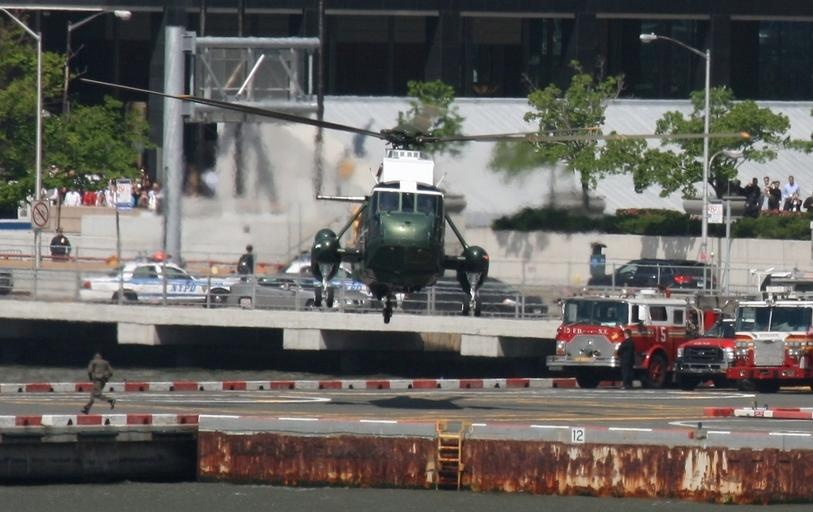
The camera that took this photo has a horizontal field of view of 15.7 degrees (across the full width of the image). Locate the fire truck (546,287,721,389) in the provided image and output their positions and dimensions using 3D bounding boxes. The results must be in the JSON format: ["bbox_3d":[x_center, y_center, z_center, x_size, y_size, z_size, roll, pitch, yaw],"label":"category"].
[{"bbox_3d":[11.256,4.237,147.721,5.373,4.119,10.381,0,0,32],"label":"fire truck"}]

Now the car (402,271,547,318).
[{"bbox_3d":[3.561,1.627,148.472,9.008,2.838,3.768,-2,-2,41],"label":"car"}]

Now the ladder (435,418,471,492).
[{"bbox_3d":[1.920,9.066,132.470,1.431,3.012,0.510,2,3,0],"label":"ladder"}]

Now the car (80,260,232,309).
[{"bbox_3d":[-12.699,1.531,149.331,6.750,2.054,2.813,-1,3,-5],"label":"car"}]

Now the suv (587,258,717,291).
[{"bbox_3d":[12.968,0.939,151.604,8.342,2.477,3.292,0,-1,2],"label":"suv"}]

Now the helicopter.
[{"bbox_3d":[0.331,-1.843,139.543,13.425,10.453,16.015,3,3,17],"label":"helicopter"}]
